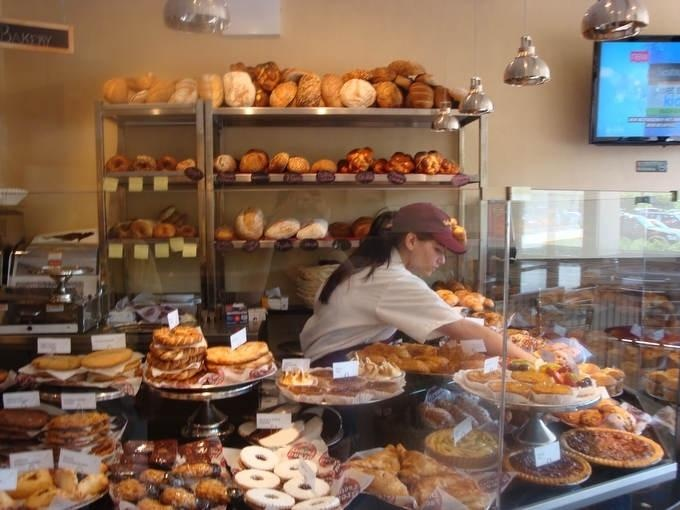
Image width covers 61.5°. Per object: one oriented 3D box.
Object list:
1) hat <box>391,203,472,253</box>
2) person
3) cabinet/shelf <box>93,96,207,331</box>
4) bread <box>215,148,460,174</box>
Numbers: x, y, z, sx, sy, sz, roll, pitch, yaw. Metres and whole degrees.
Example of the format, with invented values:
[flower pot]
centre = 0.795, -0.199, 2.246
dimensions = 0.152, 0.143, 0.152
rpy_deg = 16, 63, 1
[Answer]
[hat]
centre = 0.321, -0.097, 2.132
dimensions = 0.265, 0.130, 0.159
rpy_deg = 12, 4, -6
[person]
centre = 0.340, 0.248, 2.174
dimensions = 0.825, 0.808, 0.567
rpy_deg = 7, 4, 24
[cabinet/shelf]
centre = -0.923, -0.146, 2.874
dimensions = 0.573, 1.154, 0.410
rpy_deg = -1, 10, -3
[bread]
centre = -0.006, -0.554, 3.412
dimensions = 1.467, 0.199, 0.514
rpy_deg = -3, 5, -12
